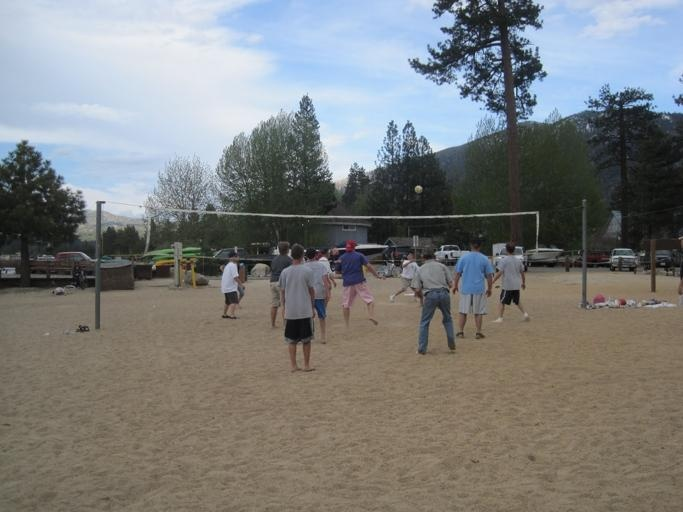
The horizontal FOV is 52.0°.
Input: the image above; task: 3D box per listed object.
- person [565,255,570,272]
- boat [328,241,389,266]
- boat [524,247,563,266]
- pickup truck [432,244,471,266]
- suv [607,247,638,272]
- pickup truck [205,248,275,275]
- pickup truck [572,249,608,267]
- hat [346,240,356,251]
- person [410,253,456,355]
[{"bbox_3d":[11.896,0.351,36.908,0.179,0.682,0.840,1,9,9],"label":"person"},{"bbox_3d":[1.348,-0.204,47.547,4.983,1.839,1.522,-1,0,-16],"label":"boat"},{"bbox_3d":[11.949,0.116,41.181,2.081,1.285,3.009,2,10,17],"label":"boat"},{"bbox_3d":[5.162,-0.115,33.342,1.328,1.199,2.631,-1,5,-5],"label":"pickup truck"},{"bbox_3d":[14.833,0.071,36.935,1.206,1.201,2.394,-2,-8,9],"label":"suv"},{"bbox_3d":[-4.742,0.256,32.785,3.264,1.222,1.111,4,-6,2],"label":"pickup truck"},{"bbox_3d":[13.478,0.125,38.058,1.487,0.733,0.970,4,4,43],"label":"pickup truck"},{"bbox_3d":[0.169,-0.211,13.735,0.142,0.197,0.199,2,5,13],"label":"hat"},{"bbox_3d":[1.571,0.699,11.723,0.673,1.737,1.589,0,9,8],"label":"person"}]
